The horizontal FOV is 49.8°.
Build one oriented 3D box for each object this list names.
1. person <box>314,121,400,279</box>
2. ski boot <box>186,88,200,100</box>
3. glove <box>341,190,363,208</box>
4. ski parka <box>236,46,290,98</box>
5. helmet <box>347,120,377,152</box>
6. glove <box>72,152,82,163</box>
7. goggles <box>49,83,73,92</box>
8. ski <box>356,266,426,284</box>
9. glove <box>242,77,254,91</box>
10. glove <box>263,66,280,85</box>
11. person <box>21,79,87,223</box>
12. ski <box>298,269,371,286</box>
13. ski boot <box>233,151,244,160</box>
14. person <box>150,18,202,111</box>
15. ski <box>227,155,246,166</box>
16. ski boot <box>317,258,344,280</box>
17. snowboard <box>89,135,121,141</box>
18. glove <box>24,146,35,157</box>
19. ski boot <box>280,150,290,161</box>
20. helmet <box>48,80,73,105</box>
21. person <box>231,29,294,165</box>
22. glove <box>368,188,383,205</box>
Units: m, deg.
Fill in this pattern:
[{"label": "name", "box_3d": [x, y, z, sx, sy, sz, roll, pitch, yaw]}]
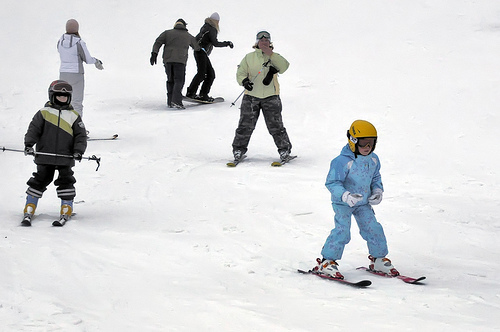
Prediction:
[{"label": "person", "box_3d": [1.250, 0.378, 6.090, 0.815, 1.545, 0.394, 3, 2, -18]}, {"label": "ski boot", "box_3d": [-1.441, -1.855, 13.779, 0.352, 0.213, 0.204, 3, 2, -7]}, {"label": "glove", "box_3d": [1.144, 0.362, 5.964, 0.231, 0.159, 0.187, 4, 2, 11]}, {"label": "ski parka", "box_3d": [0.277, -1.661, 9.311, 1.023, 0.897, 0.560, 4, 17, 21]}, {"label": "helmet", "box_3d": [1.247, -0.347, 6.002, 0.285, 0.351, 0.360, -7, 12, -38]}, {"label": "glove", "box_3d": [-2.261, -0.134, 7.057, 0.067, 0.071, 0.118, 0, -6, 9]}, {"label": "goggles", "box_3d": [-2.497, -1.050, 7.136, 0.276, 0.120, 0.156, 2, 2, -30]}, {"label": "ski", "box_3d": [1.727, 1.221, 6.058, 0.084, 0.058, 0.561, -13, 15, -39]}, {"label": "glove", "box_3d": [-0.015, -1.405, 9.112, 0.206, 0.178, 0.153, 3, 2, -15]}, {"label": "glove", "box_3d": [0.344, -1.530, 9.175, 0.193, 0.340, 0.132, 34, -9, -14]}, {"label": "person", "box_3d": [-2.542, -0.218, 7.040, 0.756, 1.841, 0.390, 3, 2, -19]}, {"label": "ski", "box_3d": [0.942, 1.253, 6.017, 0.757, 0.055, 0.102, 6, 14, 43]}, {"label": "ski boot", "box_3d": [-0.186, -0.201, 9.390, 0.114, 0.150, 0.055, 2, -4, -3]}, {"label": "person", "box_3d": [-1.749, -2.489, 12.893, 1.112, 1.582, 1.284, 4, 2, -6]}, {"label": "ski", "box_3d": [-0.232, -0.098, 9.355, 0.090, 0.067, 0.562, 42, 19, 6]}, {"label": "ski boot", "box_3d": [0.904, 1.140, 6.044, 0.396, 0.163, 0.133, 19, 0, 28]}, {"label": "snowboard", "box_3d": [-2.857, -0.571, 10.706, 0.407, 0.054, 0.211, -1, 12, -2]}, {"label": "glove", "box_3d": [-2.818, -0.190, 6.878, 0.108, 0.100, 0.041, 2, -9, -8]}, {"label": "ski boot", "box_3d": [0.637, -0.195, 9.481, 0.198, 0.154, 0.102, 2, 2, -41]}, {"label": "helmet", "box_3d": [-2.508, -0.987, 7.193, 0.269, 0.271, 0.332, 3, -6, -33]}, {"label": "person", "box_3d": [0.252, -1.162, 9.286, 0.988, 1.794, 0.454, 4, 2, -3]}, {"label": "glove", "box_3d": [1.417, 0.346, 6.036, 0.141, 0.186, 0.084, 14, -29, 21]}]
